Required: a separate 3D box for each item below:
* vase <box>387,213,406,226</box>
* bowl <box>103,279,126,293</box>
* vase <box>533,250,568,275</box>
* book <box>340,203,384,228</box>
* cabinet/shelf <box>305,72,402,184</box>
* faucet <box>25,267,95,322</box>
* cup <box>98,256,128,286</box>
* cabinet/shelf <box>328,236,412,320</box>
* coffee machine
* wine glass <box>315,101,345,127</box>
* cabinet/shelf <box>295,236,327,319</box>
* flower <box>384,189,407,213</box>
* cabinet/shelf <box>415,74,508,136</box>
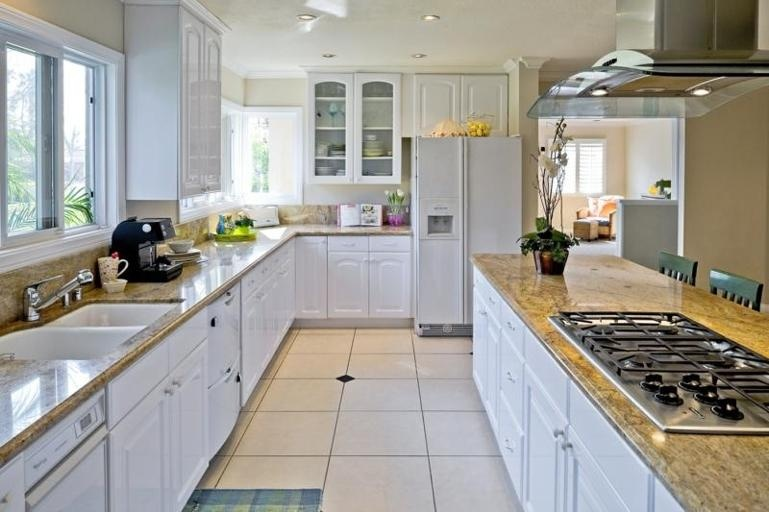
[{"bbox_3d":[0.136,-0.431,6.185,0.166,0.102,0.158,-2,6,-13],"label":"vase"},{"bbox_3d":[-1.558,0.166,3.120,0.084,0.041,0.104,5,9,35],"label":"bowl"},{"bbox_3d":[1.067,0.041,3.489,0.179,0.109,0.169,1,-2,-6],"label":"vase"},{"bbox_3d":[-0.268,-0.453,6.032,0.487,0.291,0.119,-1,0,-3],"label":"book"},{"bbox_3d":[-0.340,-1.440,5.864,1.320,1.343,0.545,0,3,-1],"label":"cabinet/shelf"},{"bbox_3d":[-1.662,0.193,2.766,0.128,0.228,0.501,8,11,18],"label":"faucet"},{"bbox_3d":[-1.639,0.082,3.286,0.128,0.161,0.193,-1,-3,41],"label":"cup"},{"bbox_3d":[-0.176,0.229,6.085,1.361,1.149,0.790,0,0,2],"label":"cabinet/shelf"},{"bbox_3d":[-1.553,-0.043,3.436,0.445,0.438,0.369,0,3,-6],"label":"coffee machine"},{"bbox_3d":[-0.597,-1.567,5.863,0.312,0.235,0.099,-1,1,-3],"label":"wine glass"},{"bbox_3d":[-0.769,0.215,5.720,0.334,0.862,0.147,-2,13,-7],"label":"cabinet/shelf"},{"bbox_3d":[0.147,-0.620,6.198,0.293,0.275,0.267,-1,-1,8],"label":"flower"},{"bbox_3d":[0.801,-1.643,5.733,0.819,0.680,0.246,0,0,-1],"label":"cabinet/shelf"}]
